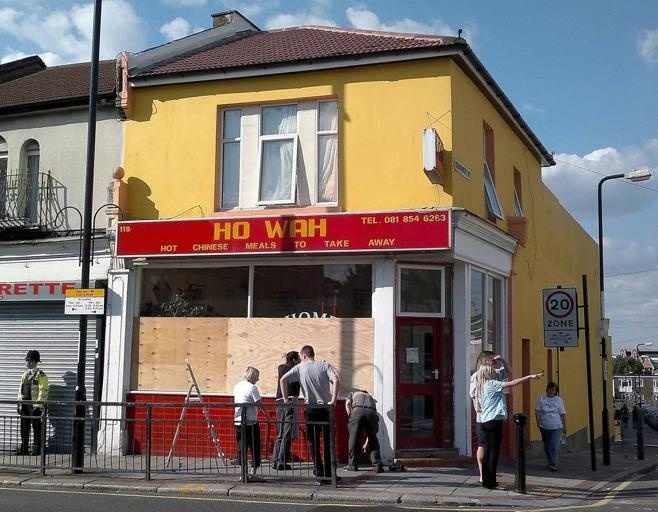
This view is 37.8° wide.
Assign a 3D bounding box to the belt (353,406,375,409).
[{"bbox_3d":[0.668,2.901,18.548,0.410,0.067,0.175,2,-11,-14],"label":"belt"}]

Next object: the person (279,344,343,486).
[{"bbox_3d":[-0.266,2.925,18.496,1.111,2.625,0.870,-8,8,-11],"label":"person"}]

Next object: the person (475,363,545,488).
[{"bbox_3d":[3.032,3.119,17.870,0.794,2.277,0.428,-2,-9,9],"label":"person"}]

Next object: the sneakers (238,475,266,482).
[{"bbox_3d":[-1.433,4.106,17.725,0.483,0.201,0.173,0,-4,-3],"label":"sneakers"}]

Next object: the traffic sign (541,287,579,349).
[{"bbox_3d":[5.054,1.302,21.106,0.747,1.339,0.695,-4,-10,22],"label":"traffic sign"}]

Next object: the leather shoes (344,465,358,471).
[{"bbox_3d":[0.396,4.118,18.858,0.254,0.122,0.103,-9,-12,38],"label":"leather shoes"}]

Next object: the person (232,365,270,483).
[{"bbox_3d":[-1.521,3.088,18.173,0.574,2.022,1.168,0,-10,-4],"label":"person"}]

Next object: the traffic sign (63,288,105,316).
[{"bbox_3d":[-4.944,0.894,19.383,0.849,0.567,0.401,-4,-10,17],"label":"traffic sign"}]

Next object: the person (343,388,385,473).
[{"bbox_3d":[0.629,3.377,18.701,0.683,1.574,0.599,-5,-10,25],"label":"person"}]
